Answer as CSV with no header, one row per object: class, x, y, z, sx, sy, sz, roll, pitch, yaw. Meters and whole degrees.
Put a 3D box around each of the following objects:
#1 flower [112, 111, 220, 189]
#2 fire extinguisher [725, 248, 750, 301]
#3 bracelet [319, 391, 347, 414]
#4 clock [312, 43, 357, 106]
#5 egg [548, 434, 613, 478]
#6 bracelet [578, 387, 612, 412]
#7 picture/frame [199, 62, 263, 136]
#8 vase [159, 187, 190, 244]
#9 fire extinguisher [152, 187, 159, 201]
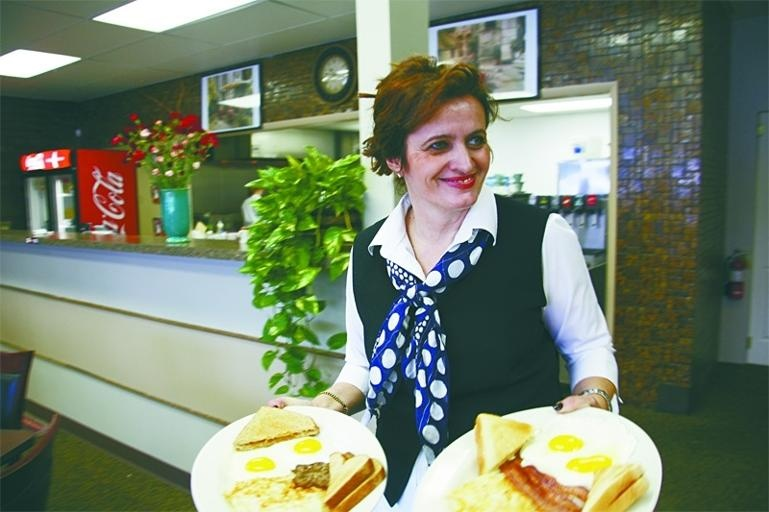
flower,-1.576,-0.778,4.190,0.736,0.574,0.439,-2,8,0
fire extinguisher,3.218,0.181,5.214,0.180,0.456,0.102,-5,9,-16
bracelet,-0.221,0.638,2.539,0.099,0.036,0.100,38,-5,17
clock,-0.636,-2.181,6.899,0.629,0.574,0.609,-26,30,-32
egg,0.745,0.762,2.194,0.123,0.049,0.185,-18,27,-28
bracelet,0.878,0.575,2.353,0.105,0.101,0.027,32,32,-1
picture/frame,-2.123,-2.070,7.744,1.061,0.836,0.092,2,4,31
vase,-1.544,-0.297,4.213,0.215,0.395,0.279,-5,8,-20
fire extinguisher,-3.016,-0.781,7.454,0.077,0.186,0.122,-6,9,-25
